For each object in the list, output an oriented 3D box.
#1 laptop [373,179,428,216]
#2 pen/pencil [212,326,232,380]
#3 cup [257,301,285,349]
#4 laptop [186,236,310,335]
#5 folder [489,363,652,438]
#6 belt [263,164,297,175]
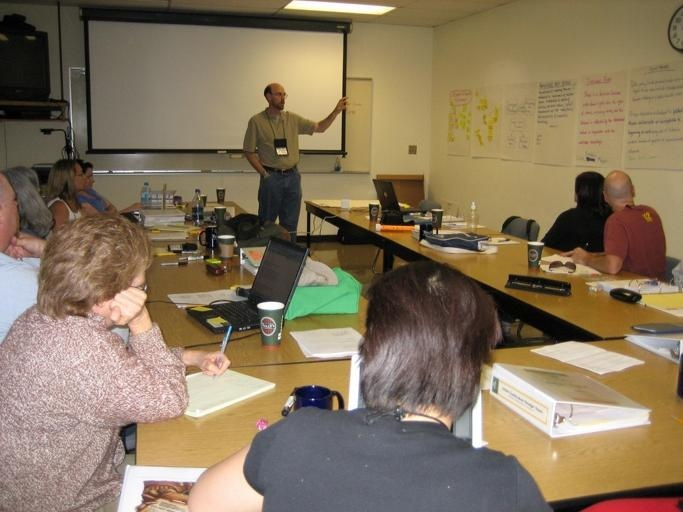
[{"bbox_3d":[0.589,-0.556,4.806,0.447,0.380,0.575,-5,10,-19],"label":"laptop"},{"bbox_3d":[-0.412,0.338,1.764,0.026,0.171,0.023,11,-7,14],"label":"pen/pencil"},{"bbox_3d":[-0.263,0.253,1.898,0.145,0.178,0.139,0,2,0],"label":"cup"},{"bbox_3d":[-0.375,0.143,2.159,0.431,0.314,0.424,7,7,-32],"label":"laptop"},{"bbox_3d":[0.659,0.413,1.446,0.239,0.076,0.242,2,13,-20],"label":"folder"},{"bbox_3d":[-0.699,-0.995,5.905,0.382,0.098,0.141,-2,11,-12],"label":"belt"}]
